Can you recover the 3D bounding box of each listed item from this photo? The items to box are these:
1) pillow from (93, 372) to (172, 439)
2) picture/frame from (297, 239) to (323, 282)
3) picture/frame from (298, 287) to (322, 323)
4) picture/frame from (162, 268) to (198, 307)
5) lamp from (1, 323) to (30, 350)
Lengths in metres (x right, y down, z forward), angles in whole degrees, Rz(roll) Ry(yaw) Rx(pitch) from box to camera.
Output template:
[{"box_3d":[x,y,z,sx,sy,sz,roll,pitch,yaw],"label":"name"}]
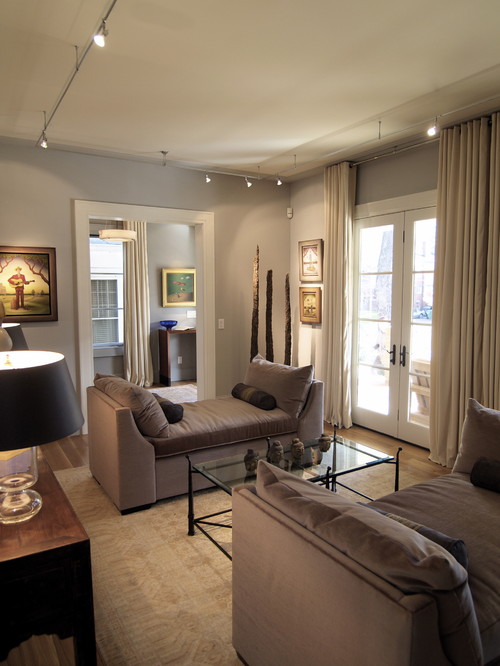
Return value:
[{"box_3d":[-0.788,0.490,3.432,0.347,0.353,0.581,-3,6,-33],"label":"pillow"},{"box_3d":[0.693,-0.827,5.764,0.045,0.624,0.516,-1,3,-28],"label":"picture/frame"},{"box_3d":[0.698,-0.322,5.791,0.034,0.482,0.389,-3,6,-30],"label":"picture/frame"},{"box_3d":[-1.063,-0.678,7.463,0.657,0.674,0.047,-4,7,-36],"label":"picture/frame"},{"box_3d":[-1.259,0.026,2.699,0.089,0.139,0.238,-2,5,-17],"label":"lamp"}]
